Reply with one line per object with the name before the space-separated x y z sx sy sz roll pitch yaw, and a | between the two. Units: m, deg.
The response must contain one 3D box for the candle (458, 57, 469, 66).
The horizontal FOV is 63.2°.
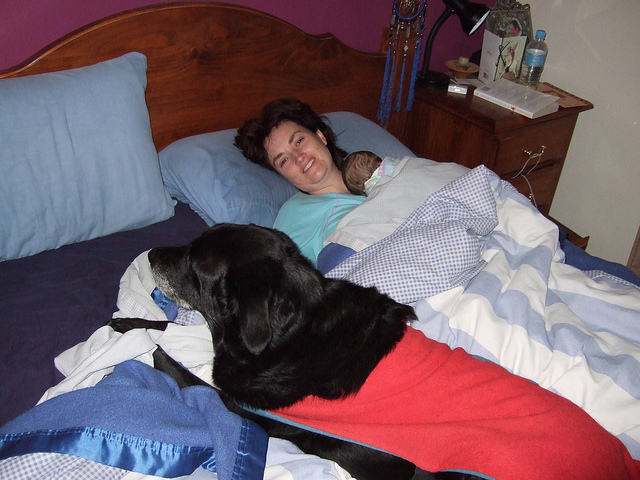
candle | 0.935 -1.144 3.389 0.057 0.050 0.053 23 42 31
